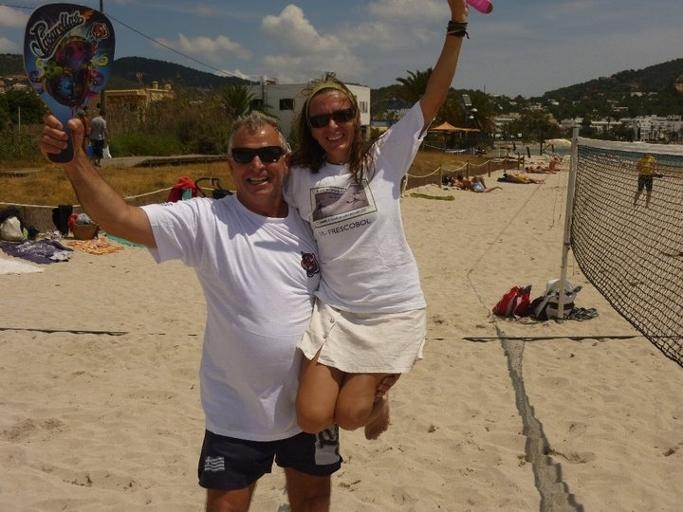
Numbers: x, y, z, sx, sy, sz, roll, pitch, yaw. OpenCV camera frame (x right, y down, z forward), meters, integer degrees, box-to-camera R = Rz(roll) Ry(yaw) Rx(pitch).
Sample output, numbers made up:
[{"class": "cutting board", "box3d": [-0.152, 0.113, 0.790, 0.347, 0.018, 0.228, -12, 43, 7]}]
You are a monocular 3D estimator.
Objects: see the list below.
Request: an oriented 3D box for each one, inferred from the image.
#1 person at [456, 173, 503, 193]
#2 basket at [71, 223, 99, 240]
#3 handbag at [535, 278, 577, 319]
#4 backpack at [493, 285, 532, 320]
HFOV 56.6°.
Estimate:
[{"class": "person", "box3d": [5.372, -2.977, 26.281, 1.797, 0.772, 1.006, 22, 18, 39]}, {"class": "basket", "box3d": [-5.440, -0.530, 13.405, 0.529, 0.345, 0.550, 2, 11, 0]}, {"class": "handbag", "box3d": [3.306, 0.707, 10.016, 0.646, 0.718, 0.510, -7, 0, -3]}, {"class": "backpack", "box3d": [2.705, 0.705, 9.914, 0.656, 0.419, 0.448, 0, 15, -8]}]
